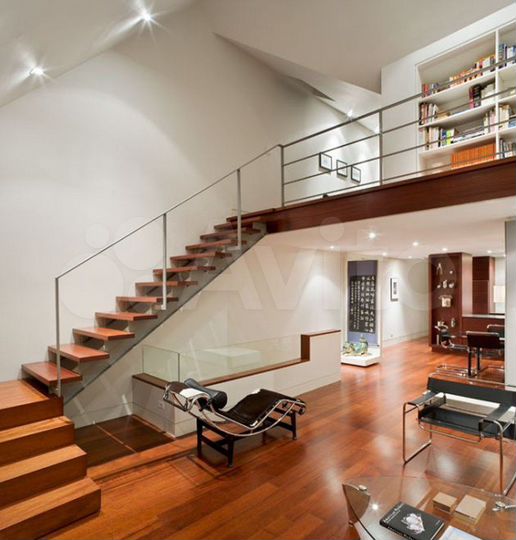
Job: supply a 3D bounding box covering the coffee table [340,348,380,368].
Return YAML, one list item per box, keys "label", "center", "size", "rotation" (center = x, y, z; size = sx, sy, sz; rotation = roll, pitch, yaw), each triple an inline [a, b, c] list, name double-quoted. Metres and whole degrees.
- label: "coffee table"
  center: [1.740, 1.508, 7.606]
  size: [0.650, 0.280, 0.512]
  rotation: [2, 5, 18]

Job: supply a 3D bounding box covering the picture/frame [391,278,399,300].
- label: "picture/frame"
  center: [2.967, 0.404, 9.649]
  size: [0.040, 0.550, 0.505]
  rotation: [-1, 1, 31]

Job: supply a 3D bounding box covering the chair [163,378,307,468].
- label: "chair"
  center: [-0.137, 1.342, 4.191]
  size: [1.451, 0.569, 0.529]
  rotation: [3, -2, -40]
